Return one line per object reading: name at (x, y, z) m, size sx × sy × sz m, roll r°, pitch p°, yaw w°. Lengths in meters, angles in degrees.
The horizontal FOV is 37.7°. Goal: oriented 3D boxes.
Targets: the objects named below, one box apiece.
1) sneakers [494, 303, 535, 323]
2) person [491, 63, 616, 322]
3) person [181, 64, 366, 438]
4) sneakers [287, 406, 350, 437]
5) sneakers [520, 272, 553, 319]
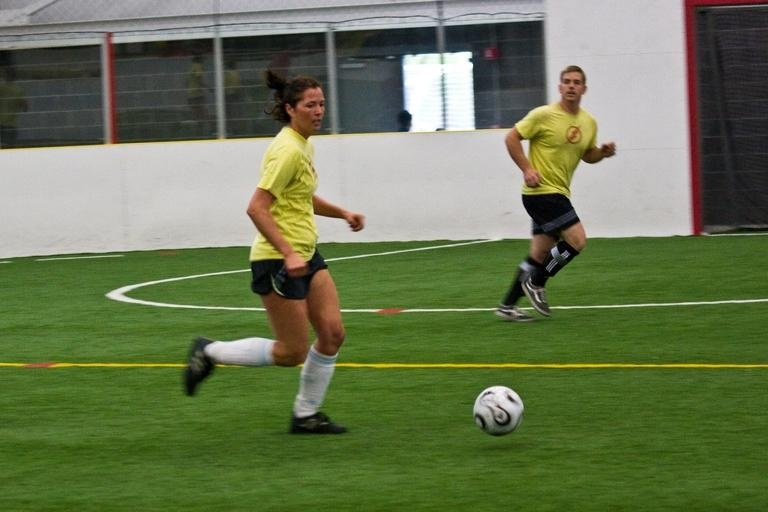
sneakers at (1.220, 0.541, 10.525) m, size 0.399 × 0.118 × 0.127 m, roll 3°, pitch 2°, yaw 12°
person at (1.596, -0.565, 10.412) m, size 0.957 × 2.331 × 0.621 m, roll -12°, pitch 16°, yaw -37°
person at (-0.794, -0.009, 7.706) m, size 0.977 × 2.471 × 0.609 m, roll -2°, pitch 13°, yaw 3°
sneakers at (-0.462, 1.169, 7.830) m, size 0.455 × 0.136 × 0.143 m, roll 1°, pitch -1°, yaw -1°
sneakers at (1.428, 0.375, 10.518) m, size 0.210 × 0.463 × 0.174 m, roll -40°, pitch 8°, yaw 17°
